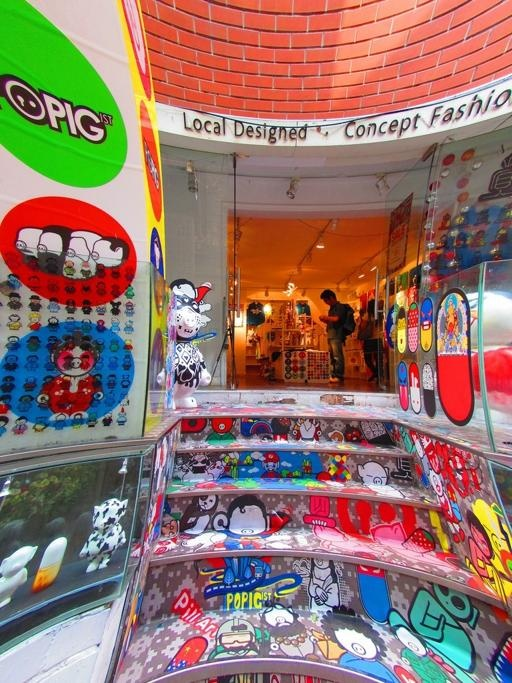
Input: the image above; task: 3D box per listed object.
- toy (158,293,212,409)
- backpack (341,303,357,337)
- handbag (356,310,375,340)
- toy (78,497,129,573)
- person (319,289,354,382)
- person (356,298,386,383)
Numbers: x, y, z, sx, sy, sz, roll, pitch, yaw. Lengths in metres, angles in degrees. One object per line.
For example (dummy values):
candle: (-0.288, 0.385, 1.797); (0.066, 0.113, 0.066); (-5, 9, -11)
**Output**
toy: (-0.458, 0.015, 2.636); (0.268, 0.916, 0.531); (1, 2, -12)
backpack: (1.331, -0.300, 5.461); (0.157, 0.479, 0.399); (1, 2, 13)
handbag: (1.817, -0.255, 6.255); (0.248, 0.471, 0.370); (9, -34, -2)
toy: (-0.433, 0.547, 1.069); (0.118, 0.157, 0.085); (0, 2, -19)
person: (1.187, -0.070, 5.514); (0.471, 1.381, 0.734); (1, 2, 10)
person: (1.693, -0.022, 5.632); (0.333, 1.259, 1.717); (2, 2, 15)
